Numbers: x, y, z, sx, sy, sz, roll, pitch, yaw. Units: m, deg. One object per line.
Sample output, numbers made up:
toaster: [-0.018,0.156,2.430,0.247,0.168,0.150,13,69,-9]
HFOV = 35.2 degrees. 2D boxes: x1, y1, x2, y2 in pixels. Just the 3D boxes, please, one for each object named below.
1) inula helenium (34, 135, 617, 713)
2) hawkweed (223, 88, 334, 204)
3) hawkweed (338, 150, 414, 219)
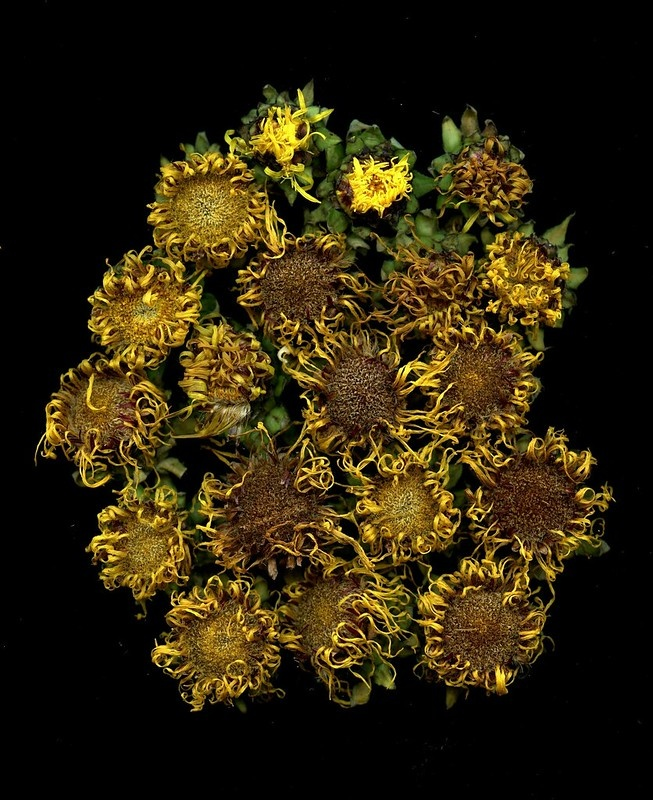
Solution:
inula helenium: [-0.056,0.113,3.633,1.579,1.039,1.902,-3,102,-2]
hawkweed: [-0.140,-0.774,3.200,0.411,0.173,0.322,1,88,10]
hawkweed: [0.140,-0.642,3.056,0.189,0.151,0.199,-5,103,-5]
